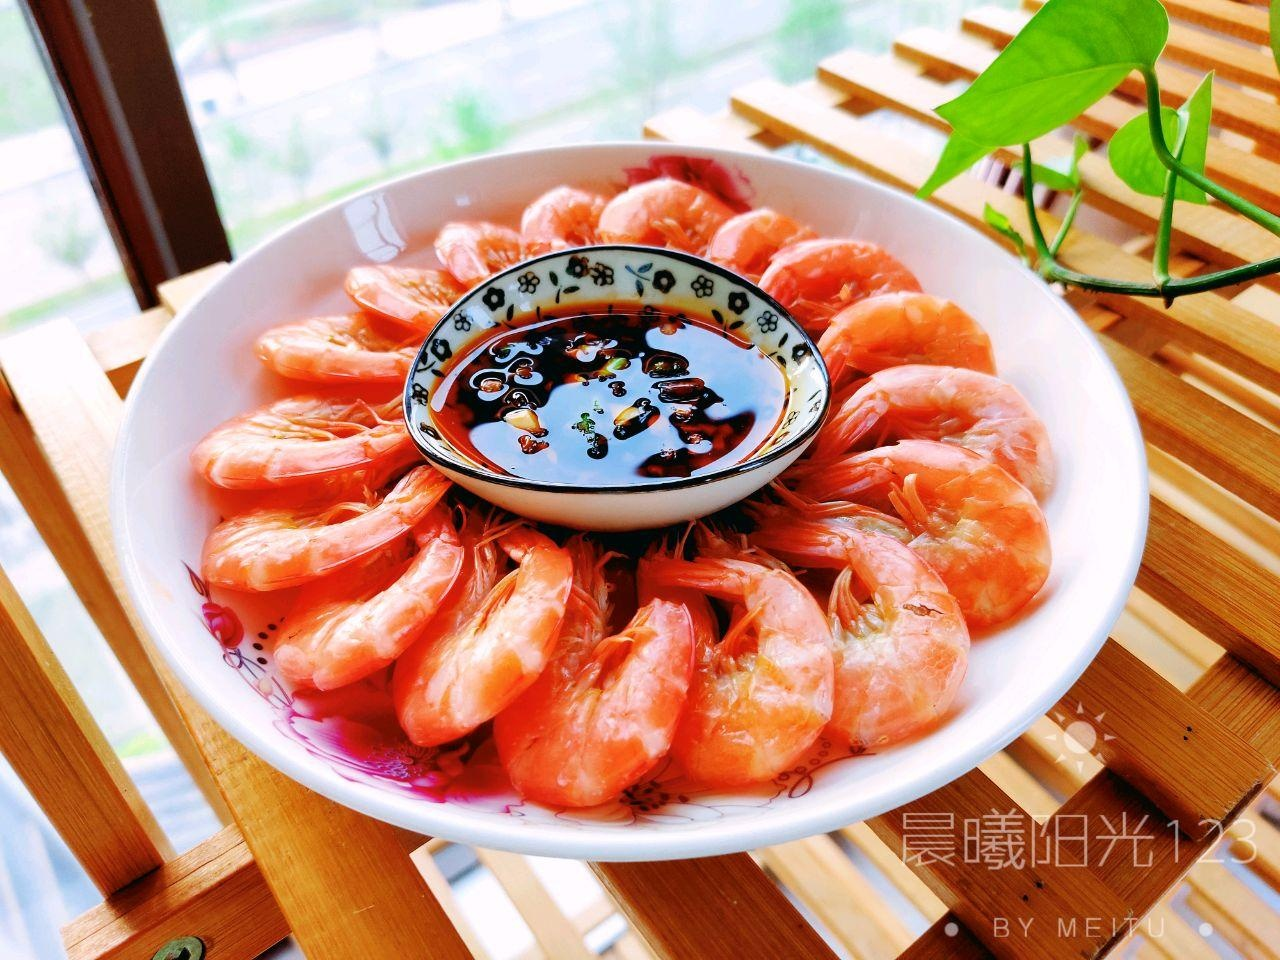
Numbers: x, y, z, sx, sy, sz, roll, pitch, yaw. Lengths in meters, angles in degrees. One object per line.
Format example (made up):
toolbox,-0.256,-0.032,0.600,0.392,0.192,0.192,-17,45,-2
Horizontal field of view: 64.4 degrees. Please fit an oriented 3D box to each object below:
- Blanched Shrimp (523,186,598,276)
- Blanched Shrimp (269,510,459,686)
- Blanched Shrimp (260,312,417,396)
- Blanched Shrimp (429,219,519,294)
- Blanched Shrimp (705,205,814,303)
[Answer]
Blanched Shrimp,-0.123,-0.395,1.571,0.154,0.123,0.067,-11,92,1
Blanched Shrimp,-0.308,0.133,1.142,0.194,0.065,0.249,6,35,19
Blanched Shrimp,-0.361,-0.191,1.377,0.184,0.053,0.144,-23,38,-29
Blanched Shrimp,-0.235,-0.328,1.486,0.110,0.046,0.093,-4,42,-17
Blanched Shrimp,0.166,-0.316,1.450,0.127,0.037,0.143,-7,65,6
